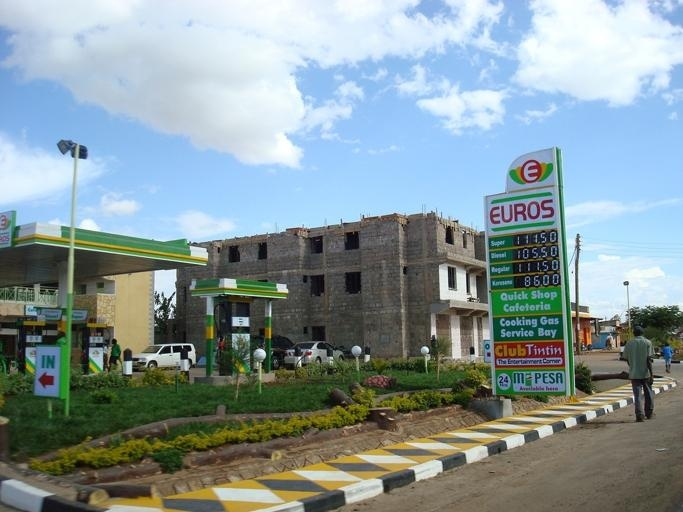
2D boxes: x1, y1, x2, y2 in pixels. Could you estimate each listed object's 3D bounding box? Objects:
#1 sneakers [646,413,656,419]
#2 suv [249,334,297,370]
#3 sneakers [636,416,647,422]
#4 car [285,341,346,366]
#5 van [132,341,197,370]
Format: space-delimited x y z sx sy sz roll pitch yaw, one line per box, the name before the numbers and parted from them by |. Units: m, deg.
sneakers | 7.789 4.063 15.238 0.115 0.141 0.345 -18 -24 12
suv | -3.571 5.182 33.376 1.943 1.831 3.825 -2 -12 9
sneakers | 7.391 4.043 14.909 0.111 0.151 0.368 -13 -22 28
car | -1.498 5.464 33.783 1.370 0.962 3.006 -4 -4 40
van | -10.150 5.767 34.760 2.383 1.472 3.323 -4 -10 5
